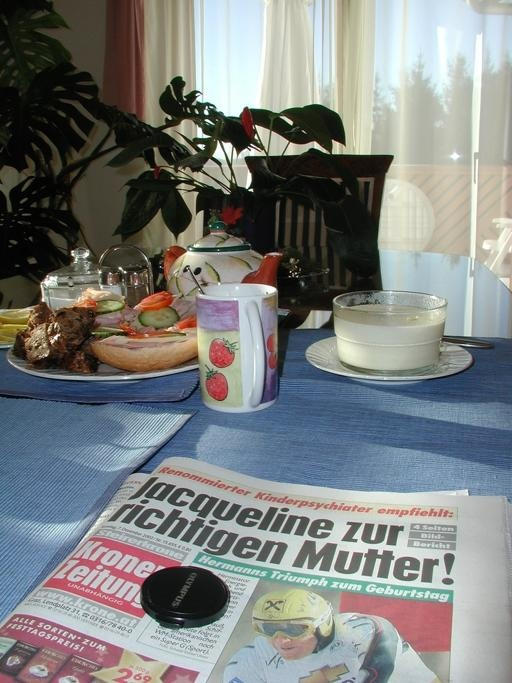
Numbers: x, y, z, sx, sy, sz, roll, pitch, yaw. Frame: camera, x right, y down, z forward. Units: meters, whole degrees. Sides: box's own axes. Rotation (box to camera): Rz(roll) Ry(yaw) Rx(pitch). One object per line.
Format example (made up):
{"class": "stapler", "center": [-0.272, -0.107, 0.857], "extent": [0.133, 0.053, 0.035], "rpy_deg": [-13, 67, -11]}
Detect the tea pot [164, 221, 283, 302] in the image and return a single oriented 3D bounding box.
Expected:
{"class": "tea pot", "center": [-0.053, -0.104, 0.736], "extent": [0.160, 0.103, 0.112], "rpy_deg": [16, 26, 29]}

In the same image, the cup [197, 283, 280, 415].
{"class": "cup", "center": [-0.007, 0.009, 0.509], "extent": [0.080, 0.109, 0.119], "rpy_deg": [-3, 3, -13]}

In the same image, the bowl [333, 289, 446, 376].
{"class": "bowl", "center": [0.148, -0.016, 0.595], "extent": [0.125, 0.065, 0.120], "rpy_deg": [0, 17, 0]}

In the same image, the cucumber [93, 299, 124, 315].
{"class": "cucumber", "center": [-0.185, -0.045, 0.671], "extent": [0.024, 0.006, 0.022], "rpy_deg": [0, 18, 18]}

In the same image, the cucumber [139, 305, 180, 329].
{"class": "cucumber", "center": [-0.116, -0.028, 0.634], "extent": [0.049, 0.021, 0.036], "rpy_deg": [-3, 14, -14]}
